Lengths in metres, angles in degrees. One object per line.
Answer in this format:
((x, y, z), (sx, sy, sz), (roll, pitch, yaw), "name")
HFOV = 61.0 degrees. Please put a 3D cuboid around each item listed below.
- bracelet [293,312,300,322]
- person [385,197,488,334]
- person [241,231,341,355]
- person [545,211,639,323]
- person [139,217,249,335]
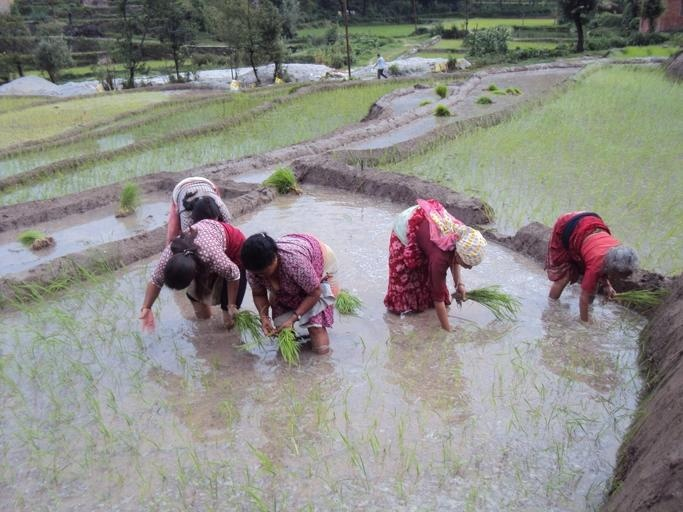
((-0.396, 0.533, 5.198), (0.051, 0.092, 0.084), (1, 32, -6), "bracelet")
((0.910, 0.050, 5.515), (0.727, 1.141, 0.921), (-19, 39, -32), "person")
((-0.428, 0.397, 5.316), (0.710, 1.475, 1.125), (-6, 17, 5), "person")
((2.384, 0.117, 5.672), (0.581, 1.046, 0.885), (-7, 34, -5), "person")
((-1.389, 0.235, 5.536), (0.488, 0.838, 1.124), (16, -13, 4), "person")
